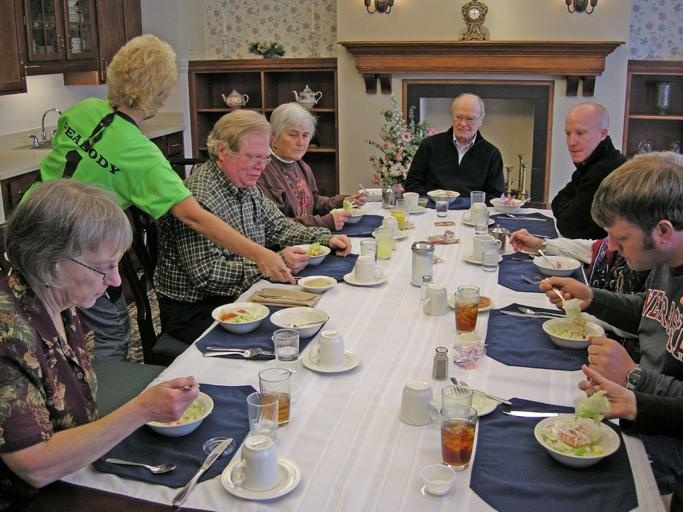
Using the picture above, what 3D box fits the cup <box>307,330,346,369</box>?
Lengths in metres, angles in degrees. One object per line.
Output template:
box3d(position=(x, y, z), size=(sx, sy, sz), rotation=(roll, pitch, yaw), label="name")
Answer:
box3d(position=(-0.053, 0.302, 1.607), size=(0.115, 0.115, 0.079), rotation=(-8, 18, -33), label="cup")

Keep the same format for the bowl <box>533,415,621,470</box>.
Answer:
box3d(position=(0.587, 0.451, 1.245), size=(0.214, 0.065, 0.162), rotation=(-2, 14, 0), label="bowl")

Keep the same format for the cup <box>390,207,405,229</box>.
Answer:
box3d(position=(0.347, -0.228, 3.025), size=(0.105, 0.172, 0.103), rotation=(-1, 14, 0), label="cup")

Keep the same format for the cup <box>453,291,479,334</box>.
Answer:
box3d(position=(0.454, 0.201, 1.825), size=(0.091, 0.159, 0.090), rotation=(0, 3, 0), label="cup")

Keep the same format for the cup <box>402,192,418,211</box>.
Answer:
box3d(position=(0.466, -0.369, 3.459), size=(0.097, 0.123, 0.118), rotation=(-2, 20, 5), label="cup")

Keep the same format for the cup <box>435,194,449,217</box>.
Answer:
box3d(position=(0.672, -0.330, 3.393), size=(0.103, 0.175, 0.109), rotation=(-2, 24, 1), label="cup")

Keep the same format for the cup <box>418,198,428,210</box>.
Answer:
box3d(position=(0.587, -0.374, 3.639), size=(0.067, 0.041, 0.093), rotation=(1, 11, 8), label="cup")

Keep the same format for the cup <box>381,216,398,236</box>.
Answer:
box3d(position=(0.274, -0.166, 2.865), size=(0.091, 0.097, 0.099), rotation=(0, 7, 0), label="cup")

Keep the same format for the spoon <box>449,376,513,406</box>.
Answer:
box3d(position=(0.393, 0.381, 1.422), size=(0.136, 0.017, 0.025), rotation=(25, 33, 37), label="spoon")

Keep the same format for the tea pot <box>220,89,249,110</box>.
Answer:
box3d(position=(-1.330, -1.916, 6.253), size=(0.364, 0.269, 0.261), rotation=(3, 19, 5), label="tea pot")

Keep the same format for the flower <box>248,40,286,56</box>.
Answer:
box3d(position=(-0.862, -2.463, 6.016), size=(0.305, 0.133, 0.310), rotation=(-1, 11, -16), label="flower")

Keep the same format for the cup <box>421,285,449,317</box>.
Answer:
box3d(position=(0.362, 0.169, 1.938), size=(0.073, 0.095, 0.125), rotation=(5, 16, 23), label="cup")

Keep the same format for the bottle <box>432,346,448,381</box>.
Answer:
box3d(position=(0.303, 0.324, 1.543), size=(0.058, 0.093, 0.056), rotation=(-2, 16, 1), label="bottle")

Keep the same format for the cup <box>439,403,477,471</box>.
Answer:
box3d(position=(0.270, 0.427, 1.218), size=(0.103, 0.154, 0.099), rotation=(3, 7, 0), label="cup")

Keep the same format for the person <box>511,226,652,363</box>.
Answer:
box3d(position=(1.070, 0.108, 2.540), size=(0.436, 0.238, 1.081), rotation=(11, 27, 5), label="person")

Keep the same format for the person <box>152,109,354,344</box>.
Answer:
box3d(position=(-0.347, -0.125, 2.797), size=(1.057, 1.302, 1.178), rotation=(6, 15, 9), label="person")

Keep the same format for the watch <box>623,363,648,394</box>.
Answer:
box3d(position=(0.838, 0.351, 1.444), size=(0.047, 0.075, 0.072), rotation=(10, -11, 17), label="watch")

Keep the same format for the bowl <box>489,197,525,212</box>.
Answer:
box3d(position=(1.129, -0.342, 3.437), size=(0.152, 0.053, 0.153), rotation=(-3, 20, 1), label="bowl")

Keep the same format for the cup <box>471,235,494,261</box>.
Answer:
box3d(position=(0.676, -0.050, 2.509), size=(0.099, 0.121, 0.116), rotation=(-16, 24, -32), label="cup")

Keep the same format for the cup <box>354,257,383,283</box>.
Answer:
box3d(position=(0.111, 0.059, 2.295), size=(0.138, 0.125, 0.089), rotation=(4, 14, 15), label="cup")

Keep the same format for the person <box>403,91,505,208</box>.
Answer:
box3d(position=(0.983, -0.853, 4.247), size=(0.812, 0.953, 0.526), rotation=(8, 19, 9), label="person")

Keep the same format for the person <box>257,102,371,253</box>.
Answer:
box3d(position=(-0.223, -0.454, 3.319), size=(0.726, 0.976, 0.769), rotation=(4, 17, -4), label="person")

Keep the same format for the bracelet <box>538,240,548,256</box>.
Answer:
box3d(position=(1.022, -0.040, 2.575), size=(0.062, 0.061, 0.064), rotation=(0, 30, 24), label="bracelet")

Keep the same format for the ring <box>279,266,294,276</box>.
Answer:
box3d(position=(-0.233, 0.064, 2.187), size=(0.031, 0.032, 0.032), rotation=(4, -26, 2), label="ring")

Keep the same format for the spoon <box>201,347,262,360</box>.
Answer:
box3d(position=(-0.358, 0.317, 1.662), size=(0.199, 0.018, 0.065), rotation=(2, 18, -2), label="spoon")

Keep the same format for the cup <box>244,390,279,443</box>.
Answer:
box3d(position=(-0.199, 0.421, 1.293), size=(0.081, 0.129, 0.080), rotation=(2, -5, 0), label="cup")

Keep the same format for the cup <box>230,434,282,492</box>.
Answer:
box3d(position=(-0.203, 0.470, 1.126), size=(0.081, 0.099, 0.136), rotation=(10, 14, 30), label="cup")

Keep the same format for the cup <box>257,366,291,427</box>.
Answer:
box3d(position=(-0.177, 0.382, 1.379), size=(0.089, 0.144, 0.093), rotation=(-2, 11, 0), label="cup")

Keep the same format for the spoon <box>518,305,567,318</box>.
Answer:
box3d(position=(0.756, 0.215, 1.944), size=(0.193, 0.030, 0.051), rotation=(7, 10, 34), label="spoon")

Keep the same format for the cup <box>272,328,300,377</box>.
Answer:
box3d(position=(-0.176, 0.311, 1.628), size=(0.091, 0.145, 0.094), rotation=(0, -5, 0), label="cup")
